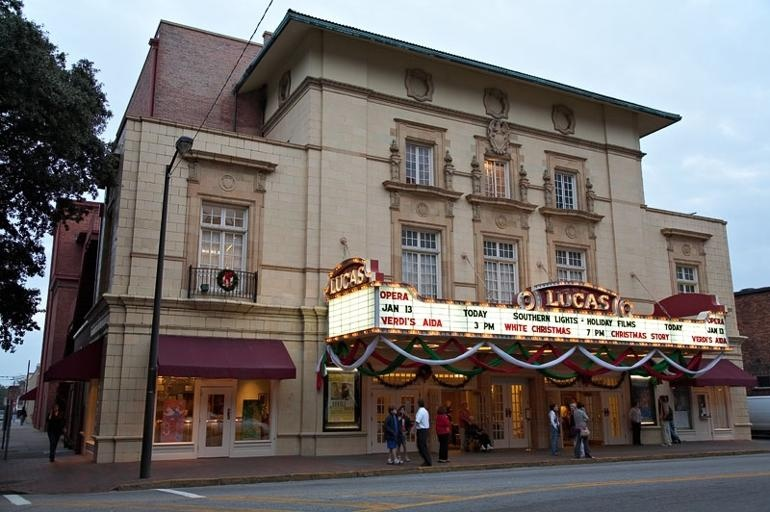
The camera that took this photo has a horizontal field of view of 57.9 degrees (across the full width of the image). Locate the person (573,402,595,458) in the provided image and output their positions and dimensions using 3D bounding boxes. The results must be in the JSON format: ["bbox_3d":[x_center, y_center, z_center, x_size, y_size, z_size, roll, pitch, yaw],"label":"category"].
[{"bbox_3d":[8.525,7.520,30.165,0.670,2.377,1.400,-6,-17,16],"label":"person"}]
